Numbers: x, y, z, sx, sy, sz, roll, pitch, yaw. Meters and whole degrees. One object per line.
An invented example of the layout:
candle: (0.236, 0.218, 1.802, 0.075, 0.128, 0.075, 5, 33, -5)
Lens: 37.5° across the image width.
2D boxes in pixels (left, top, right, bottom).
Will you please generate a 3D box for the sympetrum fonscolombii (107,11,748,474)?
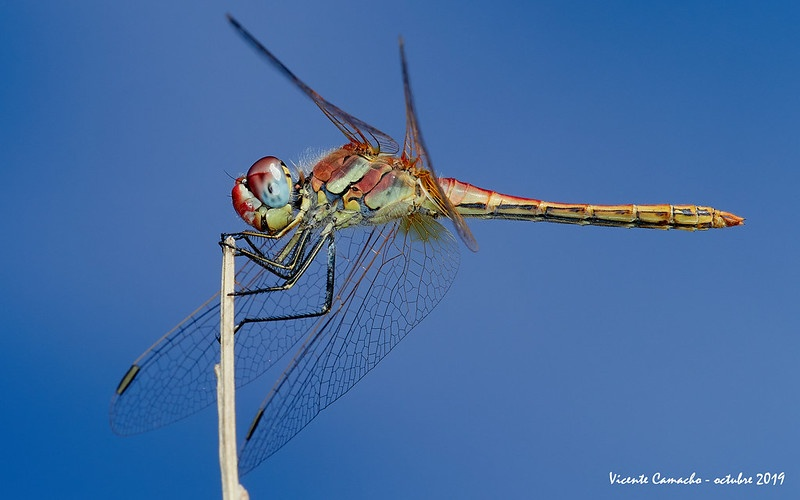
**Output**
sympetrum fonscolombii: (-0.206, 0.142, 4.894, 2.239, 1.033, 1.223, -23, -49, 19)
